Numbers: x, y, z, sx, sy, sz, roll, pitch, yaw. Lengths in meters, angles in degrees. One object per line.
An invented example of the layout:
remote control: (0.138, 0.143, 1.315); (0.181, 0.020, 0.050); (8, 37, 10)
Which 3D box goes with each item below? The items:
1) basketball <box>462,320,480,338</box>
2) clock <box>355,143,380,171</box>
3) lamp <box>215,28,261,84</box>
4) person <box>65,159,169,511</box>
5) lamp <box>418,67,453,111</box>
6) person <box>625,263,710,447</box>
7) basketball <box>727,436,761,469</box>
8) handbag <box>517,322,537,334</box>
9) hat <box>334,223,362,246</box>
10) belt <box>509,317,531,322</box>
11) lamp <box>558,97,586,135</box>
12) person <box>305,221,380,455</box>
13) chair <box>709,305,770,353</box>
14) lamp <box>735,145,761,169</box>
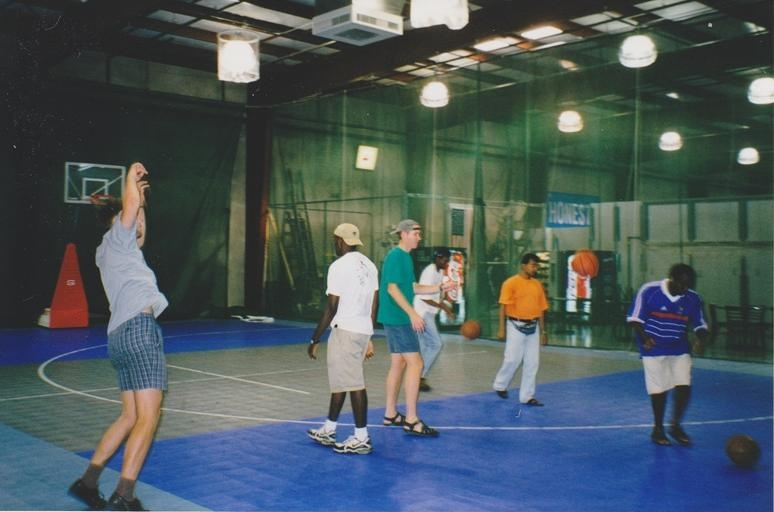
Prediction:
basketball: (1.483, 1.299, 11.623); (0.304, 0.308, 0.318); (4, -7, 15)
clock: (-0.577, -2.916, 19.419); (0.751, 0.736, 0.186); (5, 2, 18)
lamp: (-3.016, -4.111, 13.796); (1.045, 1.107, 1.023); (0, -1, 1)
person: (-2.606, 0.791, 6.646); (0.827, 2.577, 0.529); (3, 1, 30)
lamp: (1.308, -4.425, 17.489); (0.967, 0.902, 0.929); (1, -6, 4)
person: (3.541, 1.230, 8.281); (0.906, 2.368, 0.607); (2, 1, -35)
basketball: (4.174, 2.282, 7.642); (0.321, 0.304, 0.391); (-1, -9, 2)
handbag: (2.103, 1.071, 9.793); (0.320, 0.174, 0.079); (2, 1, -22)
hat: (-0.489, -0.284, 8.121); (0.241, 0.176, 0.353); (-2, 19, -42)
belt: (1.984, 0.944, 9.788); (0.280, 0.052, 0.039); (3, 1, 12)
lamp: (4.294, -3.284, 15.472); (0.676, 0.714, 0.227); (6, 8, 28)
person: (-0.509, 0.985, 7.996); (0.806, 2.374, 0.676); (3, 1, -4)
chair: (7.402, 1.397, 13.687); (0.937, 1.220, 0.983); (-3, 3, -38)
lamp: (7.437, -2.047, 13.463); (0.386, 0.235, 0.377); (0, -3, -1)
